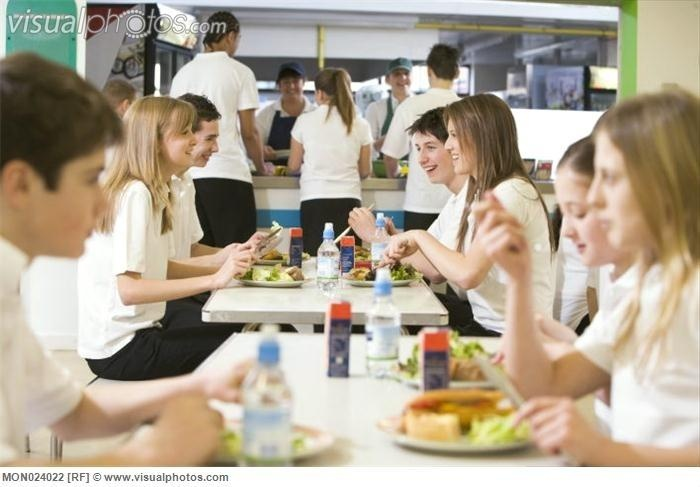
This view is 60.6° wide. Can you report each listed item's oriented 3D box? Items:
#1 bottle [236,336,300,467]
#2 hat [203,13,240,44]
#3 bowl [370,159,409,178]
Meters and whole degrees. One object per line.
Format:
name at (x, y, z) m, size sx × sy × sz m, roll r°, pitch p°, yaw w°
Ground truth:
bottle at (-0.124, 0.227, 0.863) m, size 0.074 × 0.202 × 0.055 m, roll 1°, pitch 8°, yaw 6°
hat at (-0.909, -1.495, 4.142) m, size 0.283 × 0.240 × 0.202 m, roll -17°, pitch 25°, yaw -23°
bowl at (0.299, -0.588, 4.645) m, size 0.217 × 0.084 × 0.209 m, roll 1°, pitch 2°, yaw 0°
